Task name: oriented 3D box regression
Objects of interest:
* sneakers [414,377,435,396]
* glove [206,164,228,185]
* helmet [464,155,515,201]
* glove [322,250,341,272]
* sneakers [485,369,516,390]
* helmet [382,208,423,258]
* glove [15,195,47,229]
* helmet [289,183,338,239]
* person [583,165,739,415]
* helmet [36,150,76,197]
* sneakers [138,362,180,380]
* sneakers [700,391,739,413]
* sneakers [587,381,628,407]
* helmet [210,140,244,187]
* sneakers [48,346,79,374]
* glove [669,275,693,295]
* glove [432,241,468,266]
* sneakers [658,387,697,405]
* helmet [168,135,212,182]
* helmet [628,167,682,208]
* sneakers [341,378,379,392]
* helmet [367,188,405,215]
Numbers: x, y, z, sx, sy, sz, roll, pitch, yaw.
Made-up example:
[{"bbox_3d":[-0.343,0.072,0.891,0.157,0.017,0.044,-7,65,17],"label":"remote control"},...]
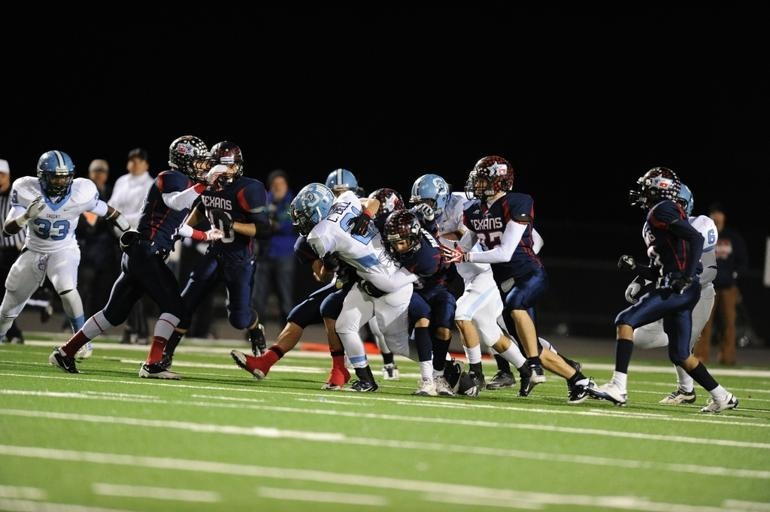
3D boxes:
[{"bbox_3d":[0.392,1.270,7.729,0.213,0.122,0.131,2,-1,2],"label":"sneakers"},{"bbox_3d":[-1.716,-0.820,8.186,0.173,0.187,0.216,-17,-34,-2],"label":"glove"},{"bbox_3d":[1.090,-0.814,8.345,0.500,0.404,0.400,0,14,6],"label":"helmet"},{"bbox_3d":[-0.522,0.058,7.721,0.131,0.146,0.249,1,-1,13],"label":"glove"},{"bbox_3d":[1.269,1.364,8.720,0.394,0.162,0.140,2,-4,-37],"label":"sneakers"},{"bbox_3d":[0.167,-0.204,7.616,0.327,0.352,0.435,-20,21,33],"label":"helmet"},{"bbox_3d":[-3.724,-0.440,8.356,0.404,0.120,0.218,-30,3,33],"label":"glove"},{"bbox_3d":[-0.710,-0.481,7.959,0.502,0.436,0.375,-33,16,21],"label":"helmet"},{"bbox_3d":[2.749,0.296,7.863,1.238,2.384,0.706,2,-1,5],"label":"person"},{"bbox_3d":[-3.522,-0.894,8.443,0.377,0.468,0.504,-2,28,-28],"label":"helmet"},{"bbox_3d":[-2.291,1.173,8.087,0.436,0.182,0.165,3,1,-9],"label":"sneakers"},{"bbox_3d":[3.214,1.409,7.717,0.399,0.196,0.269,2,-1,-2],"label":"sneakers"},{"bbox_3d":[2.129,1.333,7.635,0.393,0.228,0.158,2,-1,-7],"label":"sneakers"},{"bbox_3d":[-1.630,-0.979,8.473,0.367,0.456,0.453,-1,5,-1],"label":"helmet"},{"bbox_3d":[-3.332,1.088,8.249,0.309,0.141,0.102,37,15,-22],"label":"sneakers"},{"bbox_3d":[2.804,0.271,7.567,0.212,0.147,0.095,-16,-21,-34],"label":"glove"},{"bbox_3d":[0.645,-0.017,8.019,0.226,0.222,0.099,11,-43,-13],"label":"glove"},{"bbox_3d":[3.005,1.446,8.232,0.466,0.211,0.159,-1,-1,-2],"label":"sneakers"},{"bbox_3d":[-2.063,-1.067,8.482,0.465,0.458,0.365,-1,18,-13],"label":"helmet"},{"bbox_3d":[2.721,-0.703,8.179,0.507,0.418,0.400,12,14,25],"label":"helmet"},{"bbox_3d":[-0.256,1.278,7.887,0.343,0.132,0.113,5,-4,-19],"label":"sneakers"},{"bbox_3d":[0.035,-0.595,8.693,0.243,0.211,0.391,-10,2,32],"label":"helmet"}]
